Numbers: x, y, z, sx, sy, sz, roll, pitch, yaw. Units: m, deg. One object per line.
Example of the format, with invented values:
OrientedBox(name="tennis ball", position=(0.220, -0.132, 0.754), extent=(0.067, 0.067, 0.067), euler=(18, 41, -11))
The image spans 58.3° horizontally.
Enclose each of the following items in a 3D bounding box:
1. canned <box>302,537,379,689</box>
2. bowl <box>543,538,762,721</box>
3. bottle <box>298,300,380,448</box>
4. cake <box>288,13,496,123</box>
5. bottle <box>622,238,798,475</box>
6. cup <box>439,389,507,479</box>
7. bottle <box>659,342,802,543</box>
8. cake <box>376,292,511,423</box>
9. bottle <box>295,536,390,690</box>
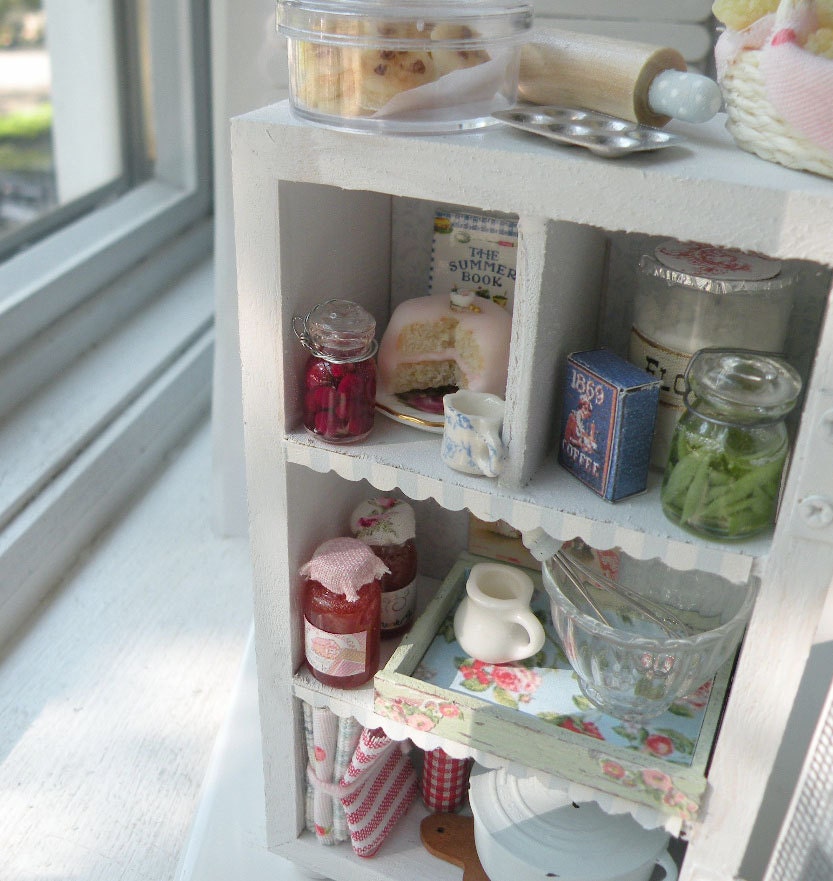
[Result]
OrientedBox(name="canned", position=(-0.091, 0.214, 0.921), extent=(0.093, 0.170, 0.099), euler=(5, 19, 2))
OrientedBox(name="bowl", position=(0.248, 0.201, 0.829), extent=(0.187, 0.152, 0.203), euler=(1, 33, 0))
OrientedBox(name="bottle", position=(-0.080, -0.076, 0.784), extent=(0.075, 0.142, 0.083), euler=(5, 28, 1))
OrientedBox(name="cake", position=(-0.024, -0.312, 0.622), extent=(0.177, 0.082, 0.092), euler=(-1, 29, -6))
OrientedBox(name="bottle", position=(0.235, -0.092, 0.769), extent=(0.161, 0.243, 0.173), euler=(2, 27, -1))
OrientedBox(name="cup", position=(0.053, -0.004, 0.714), extent=(0.052, 0.060, 0.086), euler=(-4, 31, -8))
OrientedBox(name="bottle", position=(0.270, 0.004, 0.642), extent=(0.094, 0.139, 0.092), euler=(1, 28, -1))
OrientedBox(name="cake", position=(0.031, -0.090, 0.848), extent=(0.132, 0.106, 0.150), euler=(18, 38, 11))
OrientedBox(name="bottle", position=(-0.094, 0.217, 0.919), extent=(0.103, 0.163, 0.091), euler=(10, 15, 26))
